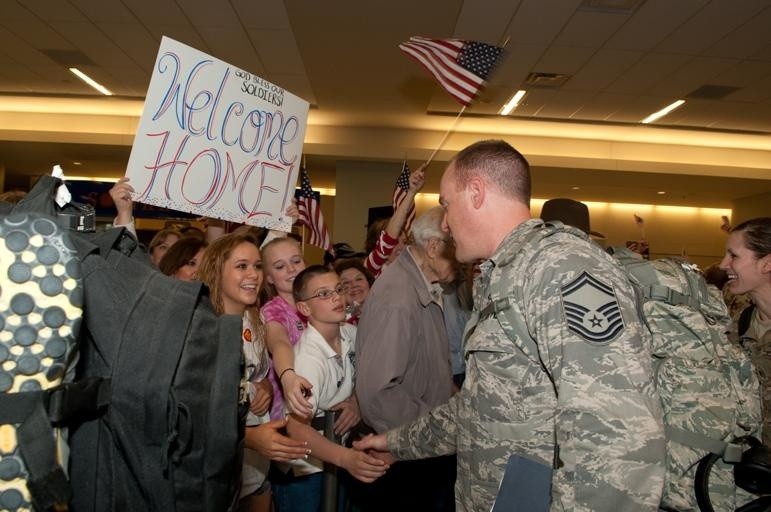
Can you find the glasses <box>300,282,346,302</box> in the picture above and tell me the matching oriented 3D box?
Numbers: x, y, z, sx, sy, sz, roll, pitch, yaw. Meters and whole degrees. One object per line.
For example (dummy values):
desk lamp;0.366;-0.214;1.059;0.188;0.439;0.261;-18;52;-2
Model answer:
glasses;-0.353;0.234;2.768;0.129;0.035;0.134;-30;-16;30
